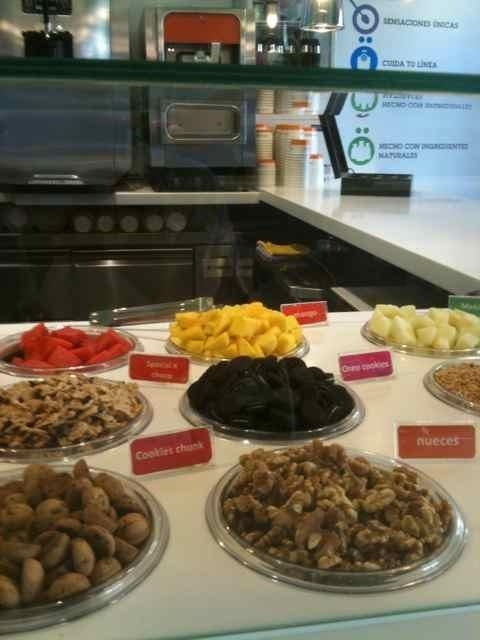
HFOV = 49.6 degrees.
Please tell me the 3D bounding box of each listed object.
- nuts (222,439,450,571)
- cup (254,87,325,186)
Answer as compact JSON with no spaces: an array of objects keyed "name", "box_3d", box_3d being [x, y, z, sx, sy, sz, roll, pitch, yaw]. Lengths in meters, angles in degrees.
[{"name":"nuts","box_3d":[0.077,0.139,0.458,0.148,0.066,0.118,-3,9,-9]},{"name":"cup","box_3d":[0.077,-0.238,0.737,0.112,0.155,0.097,-2,18,-10]}]
